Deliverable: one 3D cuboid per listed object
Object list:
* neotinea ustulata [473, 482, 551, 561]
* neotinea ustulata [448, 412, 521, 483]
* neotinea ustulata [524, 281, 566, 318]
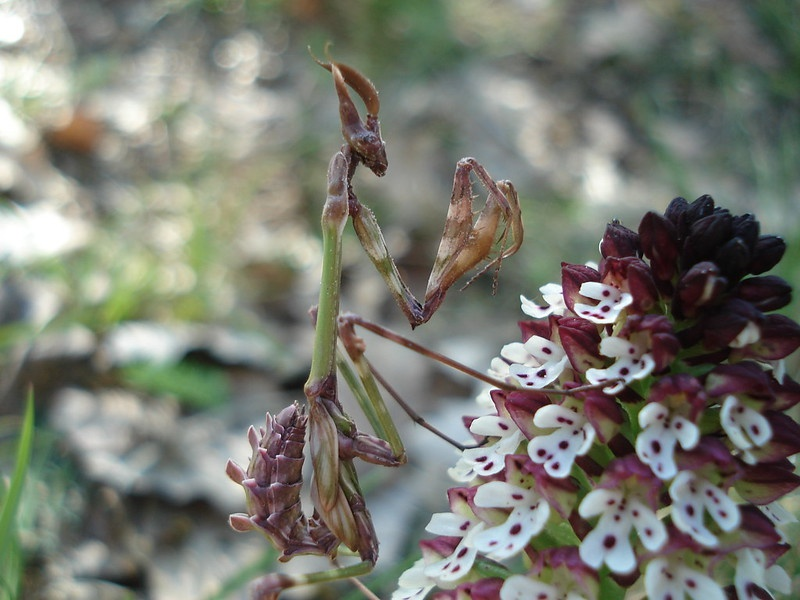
[{"bbox_3d":[0.288,0.571,2.726,0.075,0.197,0.191,50,55,-51],"label":"neotinea ustulata"},{"bbox_3d":[0.241,0.398,2.825,0.191,0.144,0.077,-33,110,-24],"label":"neotinea ustulata"},{"bbox_3d":[0.395,0.010,2.880,0.097,0.095,0.039,1,77,-42],"label":"neotinea ustulata"}]
